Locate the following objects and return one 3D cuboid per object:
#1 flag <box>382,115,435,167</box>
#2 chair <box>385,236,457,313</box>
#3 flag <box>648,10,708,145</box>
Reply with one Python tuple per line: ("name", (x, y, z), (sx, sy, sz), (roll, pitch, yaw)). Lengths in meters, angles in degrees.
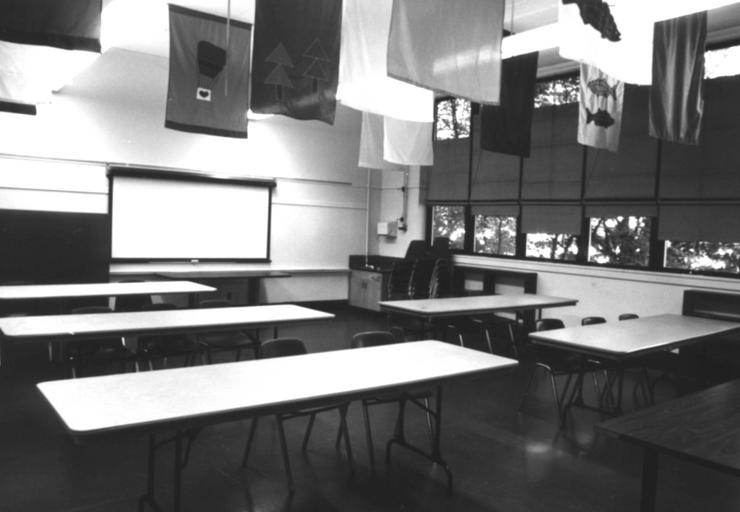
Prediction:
("flag", (0.518, -1.614, 7.665), (0.927, 0.702, 0.063), (0, 2, -37))
("chair", (1.157, 0.252, 10.650), (1.181, 1.892, 1.143), (4, -5, -30))
("flag", (3.694, -2.183, 6.623), (1.136, 1.595, 0.256), (-3, 4, -39))
